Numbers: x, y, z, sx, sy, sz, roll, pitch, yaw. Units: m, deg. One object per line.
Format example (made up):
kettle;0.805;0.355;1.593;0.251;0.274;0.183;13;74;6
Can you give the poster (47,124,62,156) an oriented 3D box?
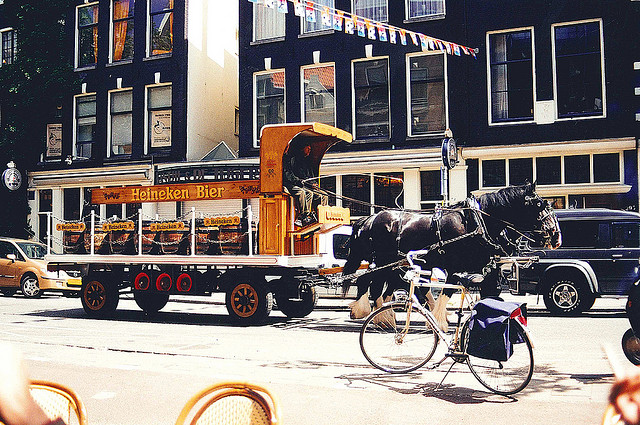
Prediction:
poster;-11.770;-3.262;42.067;0.750;1.418;0.127;0;-1;26

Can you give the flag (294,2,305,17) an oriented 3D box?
flag;-0.597;-6.232;28.700;0.277;0.360;0.453;0;-1;12

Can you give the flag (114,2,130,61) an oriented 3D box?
flag;-8.614;-7.991;41.275;0.790;2.486;0.132;0;-1;21

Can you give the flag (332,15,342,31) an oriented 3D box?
flag;0.587;-6.005;29.574;0.250;0.451;0.470;0;-1;3

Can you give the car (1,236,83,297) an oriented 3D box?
car;-9.822;2.012;35.066;3.802;1.747;2.283;-4;-6;28

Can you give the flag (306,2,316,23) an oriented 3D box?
flag;-0.238;-6.197;28.892;0.256;0.451;0.365;0;-1;-5
